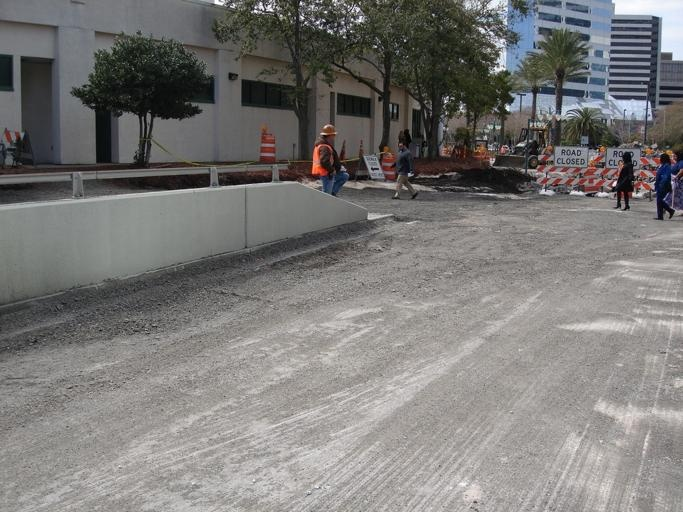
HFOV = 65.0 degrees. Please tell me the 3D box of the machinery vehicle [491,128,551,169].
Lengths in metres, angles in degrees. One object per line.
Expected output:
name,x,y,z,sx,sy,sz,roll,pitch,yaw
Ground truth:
machinery vehicle,14.836,-8.529,42.600,4.961,2.854,3.076,0,14,22
